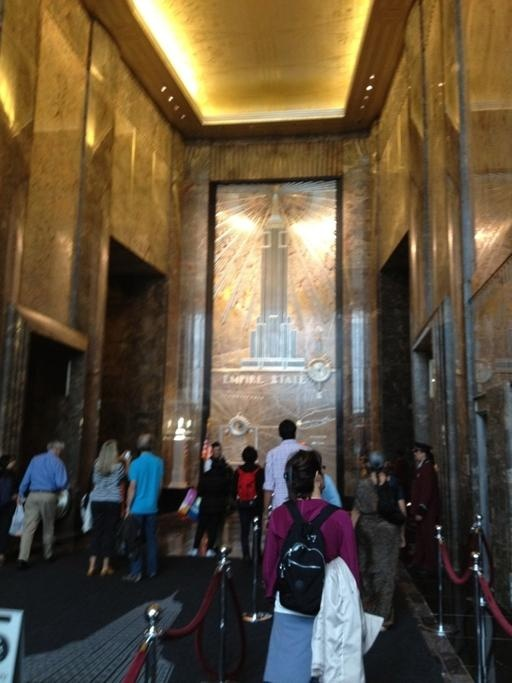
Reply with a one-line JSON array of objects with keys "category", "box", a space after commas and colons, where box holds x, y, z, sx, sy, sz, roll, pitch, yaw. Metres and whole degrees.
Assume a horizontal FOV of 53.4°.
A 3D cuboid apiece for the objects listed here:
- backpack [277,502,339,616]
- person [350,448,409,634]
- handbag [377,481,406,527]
[{"category": "backpack", "box": [0.168, 0.760, 1.772, 0.224, 0.358, 0.157, -3, -15, 15]}, {"category": "person", "box": [1.060, 1.690, 4.236, 0.504, 1.572, 0.378, 1, 10, 14]}, {"category": "handbag", "box": [1.212, 1.445, 4.538, 0.213, 0.356, 1.022, -3, -15, 16]}]
